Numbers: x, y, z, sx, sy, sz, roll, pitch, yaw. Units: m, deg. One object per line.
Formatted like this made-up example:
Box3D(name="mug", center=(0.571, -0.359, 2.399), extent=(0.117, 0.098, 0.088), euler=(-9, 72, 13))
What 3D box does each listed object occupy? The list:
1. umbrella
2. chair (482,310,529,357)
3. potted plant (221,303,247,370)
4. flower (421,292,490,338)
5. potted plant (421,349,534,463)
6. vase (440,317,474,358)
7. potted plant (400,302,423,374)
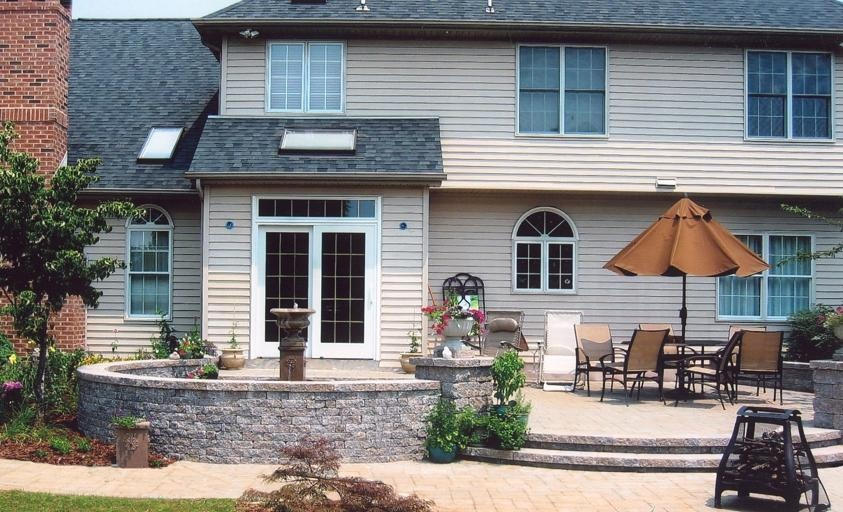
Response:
Box3D(name="umbrella", center=(6.148, 0.458, 25.678), extent=(3.560, 3.225, 3.511), euler=(-5, 14, -18))
Box3D(name="chair", center=(2.000, 1.980, 26.734), extent=(1.135, 0.878, 1.418), euler=(3, 41, 1))
Box3D(name="potted plant", center=(-4.342, 1.923, 26.143), extent=(0.585, 1.424, 0.474), euler=(4, -3, -8))
Box3D(name="flower", center=(0.757, 1.441, 23.947), extent=(1.122, 0.658, 1.172), euler=(-4, -2, 44))
Box3D(name="potted plant", center=(1.464, 3.160, 23.486), extent=(2.921, 2.385, 2.108), euler=(3, -7, -30))
Box3D(name="vase", center=(0.742, 1.723, 23.778), extent=(0.888, 0.859, 0.867), euler=(0, -3, -42))
Box3D(name="potted plant", center=(-0.136, 2.054, 26.402), extent=(0.658, 1.328, 0.697), euler=(0, 3, 33))
